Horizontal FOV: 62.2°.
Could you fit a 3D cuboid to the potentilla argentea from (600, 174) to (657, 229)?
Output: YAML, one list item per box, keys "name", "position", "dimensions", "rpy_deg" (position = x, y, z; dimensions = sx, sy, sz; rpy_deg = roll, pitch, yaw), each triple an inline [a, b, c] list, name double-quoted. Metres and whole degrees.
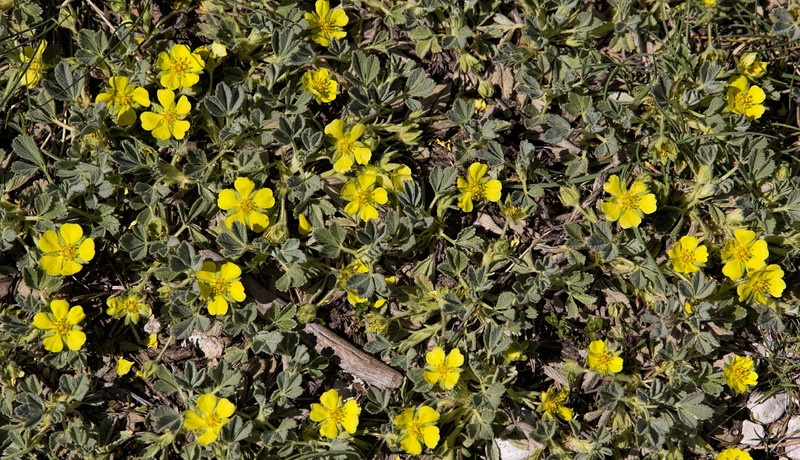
- name: "potentilla argentea"
  position: [1.305, -0.149, 3.819]
  dimensions: [0.351, 0.289, 0.277]
  rpy_deg: [3, 55, -5]

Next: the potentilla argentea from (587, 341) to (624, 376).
- name: "potentilla argentea"
  position: [1.146, 0.705, 3.832]
  dimensions: [0.262, 0.244, 0.094]
  rpy_deg: [5, 98, 9]

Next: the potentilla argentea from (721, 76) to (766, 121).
- name: "potentilla argentea"
  position: [2.020, -0.814, 3.909]
  dimensions: [0.234, 0.081, 0.244]
  rpy_deg: [41, 33, -24]
